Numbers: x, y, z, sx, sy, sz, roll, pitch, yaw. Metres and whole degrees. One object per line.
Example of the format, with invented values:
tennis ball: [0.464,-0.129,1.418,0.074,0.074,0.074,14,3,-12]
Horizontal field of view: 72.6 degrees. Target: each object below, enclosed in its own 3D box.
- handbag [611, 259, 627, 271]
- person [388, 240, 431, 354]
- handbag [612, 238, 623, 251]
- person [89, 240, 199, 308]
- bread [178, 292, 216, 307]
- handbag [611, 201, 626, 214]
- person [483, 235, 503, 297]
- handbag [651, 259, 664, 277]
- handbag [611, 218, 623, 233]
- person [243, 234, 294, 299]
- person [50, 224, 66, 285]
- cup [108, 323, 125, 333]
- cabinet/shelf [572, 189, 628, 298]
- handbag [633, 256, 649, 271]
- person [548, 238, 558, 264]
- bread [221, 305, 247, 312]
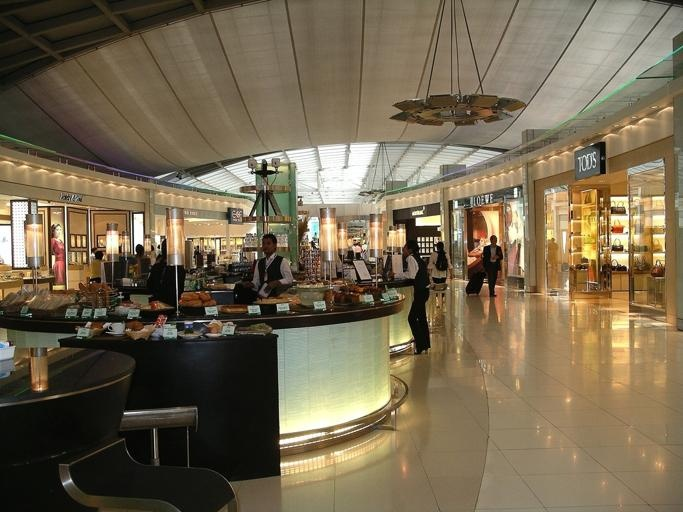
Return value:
handbag: [7.283,0.244,12.046,0.429,0.376,0.247,-1,2,11]
person: [1.039,0.574,7.007,0.536,1.609,0.845,-2,2,8]
handbag: [7.168,-0.300,12.063,0.344,0.336,0.117,1,12,18]
person: [-2.780,0.228,6.415,0.723,1.101,1.259,1,1,11]
bread: [-1.259,0.364,3.972,0.275,0.110,0.319,-3,2,-31]
handbag: [7.340,-1.278,12.317,0.397,0.311,0.178,0,11,7]
person: [4.423,0.268,13.709,0.552,1.745,1.309,-1,2,17]
handbag: [5.983,0.248,8.764,0.241,0.215,0.242,5,5,44]
handbag: [7.224,-0.772,12.167,0.250,0.301,0.322,0,3,-28]
person: [-0.854,0.141,5.271,0.507,0.790,0.987,-2,2,-10]
person: [-7.890,-0.054,12.786,0.340,1.702,1.212,-4,3,-32]
cup: [-1.627,0.513,3.320,0.088,0.065,0.110,2,-3,-43]
cabinet/shelf: [6.773,-0.375,12.316,1.346,2.859,0.547,-1,3,25]
handbag: [5.977,0.135,9.259,0.231,0.384,0.232,-14,-15,41]
person: [5.999,-0.150,13.187,0.122,0.678,0.433,-2,2,-4]
bread: [-0.935,0.440,3.943,0.242,0.046,0.201,-2,2,-7]
